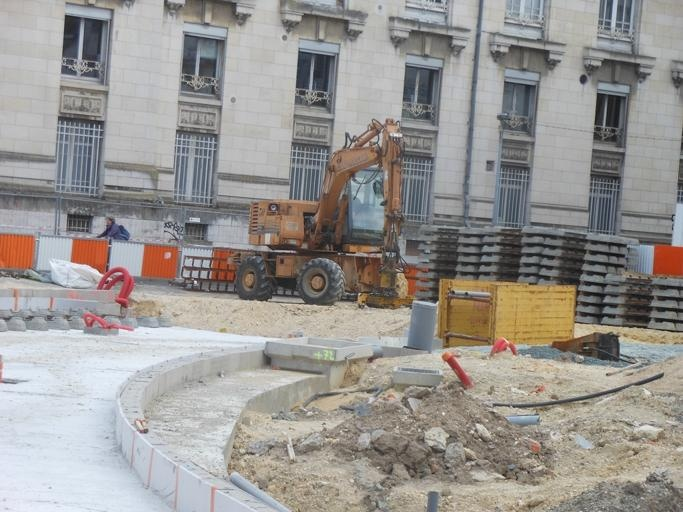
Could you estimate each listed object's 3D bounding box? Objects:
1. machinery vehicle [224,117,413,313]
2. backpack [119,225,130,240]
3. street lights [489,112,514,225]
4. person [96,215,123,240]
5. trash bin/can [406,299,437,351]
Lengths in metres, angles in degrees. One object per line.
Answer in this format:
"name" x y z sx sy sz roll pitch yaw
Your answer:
"machinery vehicle" -0.232 -1.241 34.488 5.395 4.954 2.077 4 1 32
"backpack" -7.069 -0.742 38.585 0.237 0.440 0.321 -26 42 -12
"street lights" 6.026 -3.349 45.150 0.321 4.183 0.871 4 1 29
"person" -7.388 -0.840 38.238 0.742 1.005 0.704 2 -18 2
"trash bin/can" 1.793 1.553 26.313 0.589 1.065 0.586 4 1 1
